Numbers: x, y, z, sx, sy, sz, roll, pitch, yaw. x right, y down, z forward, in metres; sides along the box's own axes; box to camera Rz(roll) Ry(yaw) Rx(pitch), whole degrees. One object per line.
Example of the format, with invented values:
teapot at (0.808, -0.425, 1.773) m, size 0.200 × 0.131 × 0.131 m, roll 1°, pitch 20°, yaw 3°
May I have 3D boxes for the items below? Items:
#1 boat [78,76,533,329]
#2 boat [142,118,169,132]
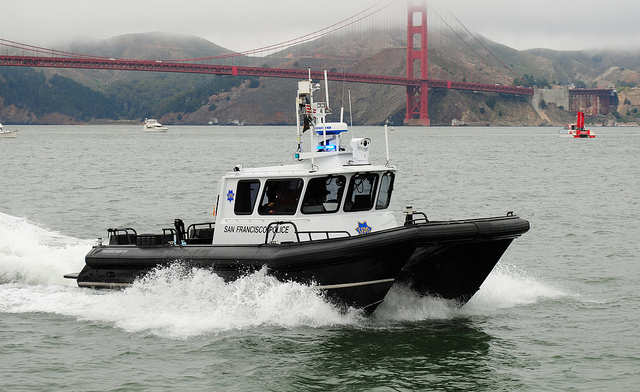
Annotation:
boat at (0.674, 1.445, 30.062) m, size 14.901 × 6.197 × 7.776 m, roll -1°, pitch 2°, yaw 21°
boat at (-28.728, -11.833, 152.524) m, size 2.103 × 1.345 × 4.841 m, roll -11°, pitch 8°, yaw -38°
